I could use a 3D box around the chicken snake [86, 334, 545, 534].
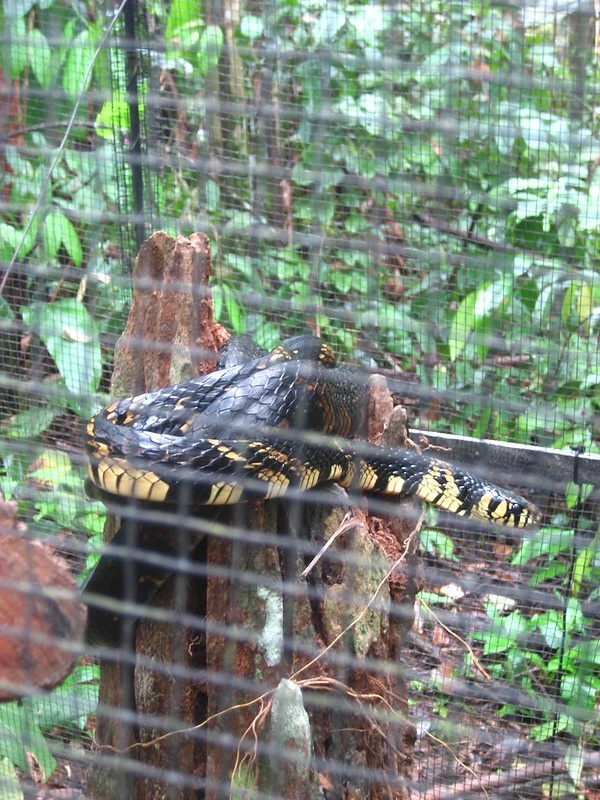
[{"bbox_3d":[0.128,0.128,3.929,1.470,0.377,1.349,12,18,14],"label":"chicken snake"}]
